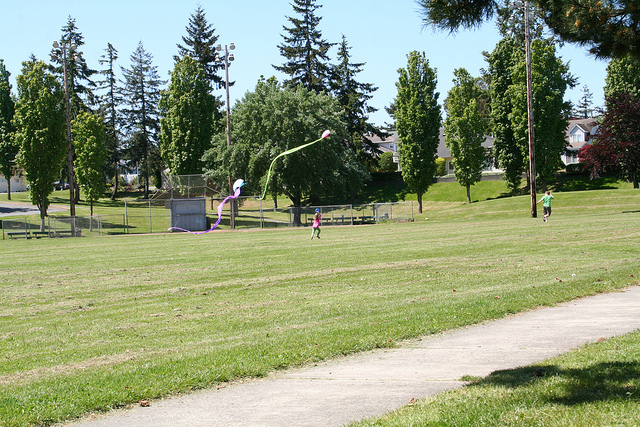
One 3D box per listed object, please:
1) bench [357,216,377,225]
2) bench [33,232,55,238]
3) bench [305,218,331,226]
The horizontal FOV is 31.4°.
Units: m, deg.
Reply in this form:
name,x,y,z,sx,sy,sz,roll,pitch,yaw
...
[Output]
name,x,y,z,sx,sy,sz,roll,pitch,yaw
bench,4.929,0.623,119.618,1.843,0.715,0.645,0,1,3
bench,-27.529,2.100,113.055,2.495,0.481,1.318,0,1,14
bench,-0.075,0.827,119.866,1.664,0.777,3.269,0,1,29
